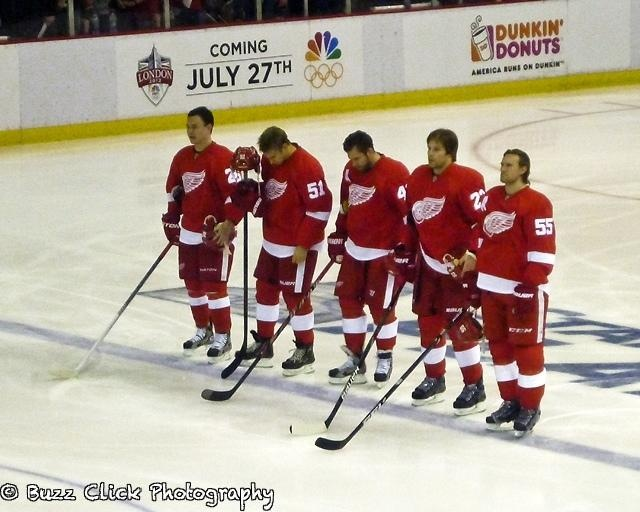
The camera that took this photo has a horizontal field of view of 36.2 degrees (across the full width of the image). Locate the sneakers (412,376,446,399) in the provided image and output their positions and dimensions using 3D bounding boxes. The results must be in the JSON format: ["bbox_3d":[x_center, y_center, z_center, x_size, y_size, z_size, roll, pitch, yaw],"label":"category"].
[{"bbox_3d":[0.707,0.827,6.244,0.088,0.117,0.298,13,14,43],"label":"sneakers"}]

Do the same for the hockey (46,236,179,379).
[{"bbox_3d":[-1.639,0.428,7.722,1.313,0.179,0.109,-46,34,-16],"label":"hockey"}]

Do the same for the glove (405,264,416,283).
[{"bbox_3d":[0.577,0.103,6.221,0.057,0.103,0.076,17,28,19],"label":"glove"}]

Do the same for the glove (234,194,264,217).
[{"bbox_3d":[-0.475,-0.366,6.769,0.244,0.216,0.101,-9,13,-38],"label":"glove"}]

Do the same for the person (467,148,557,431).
[{"bbox_3d":[1.130,0.205,5.654,0.304,1.619,0.451,-5,11,-22],"label":"person"}]

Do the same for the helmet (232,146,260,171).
[{"bbox_3d":[-0.486,-0.670,6.675,0.152,0.178,0.184,0,19,3],"label":"helmet"}]

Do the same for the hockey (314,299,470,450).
[{"bbox_3d":[0.480,0.773,6.213,0.158,0.193,1.127,38,59,19],"label":"hockey"}]

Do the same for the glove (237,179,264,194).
[{"bbox_3d":[-0.467,-0.490,6.757,0.111,0.106,0.250,3,10,18],"label":"glove"}]

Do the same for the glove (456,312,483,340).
[{"bbox_3d":[0.893,0.421,5.854,0.192,0.184,0.104,1,12,43],"label":"glove"}]
